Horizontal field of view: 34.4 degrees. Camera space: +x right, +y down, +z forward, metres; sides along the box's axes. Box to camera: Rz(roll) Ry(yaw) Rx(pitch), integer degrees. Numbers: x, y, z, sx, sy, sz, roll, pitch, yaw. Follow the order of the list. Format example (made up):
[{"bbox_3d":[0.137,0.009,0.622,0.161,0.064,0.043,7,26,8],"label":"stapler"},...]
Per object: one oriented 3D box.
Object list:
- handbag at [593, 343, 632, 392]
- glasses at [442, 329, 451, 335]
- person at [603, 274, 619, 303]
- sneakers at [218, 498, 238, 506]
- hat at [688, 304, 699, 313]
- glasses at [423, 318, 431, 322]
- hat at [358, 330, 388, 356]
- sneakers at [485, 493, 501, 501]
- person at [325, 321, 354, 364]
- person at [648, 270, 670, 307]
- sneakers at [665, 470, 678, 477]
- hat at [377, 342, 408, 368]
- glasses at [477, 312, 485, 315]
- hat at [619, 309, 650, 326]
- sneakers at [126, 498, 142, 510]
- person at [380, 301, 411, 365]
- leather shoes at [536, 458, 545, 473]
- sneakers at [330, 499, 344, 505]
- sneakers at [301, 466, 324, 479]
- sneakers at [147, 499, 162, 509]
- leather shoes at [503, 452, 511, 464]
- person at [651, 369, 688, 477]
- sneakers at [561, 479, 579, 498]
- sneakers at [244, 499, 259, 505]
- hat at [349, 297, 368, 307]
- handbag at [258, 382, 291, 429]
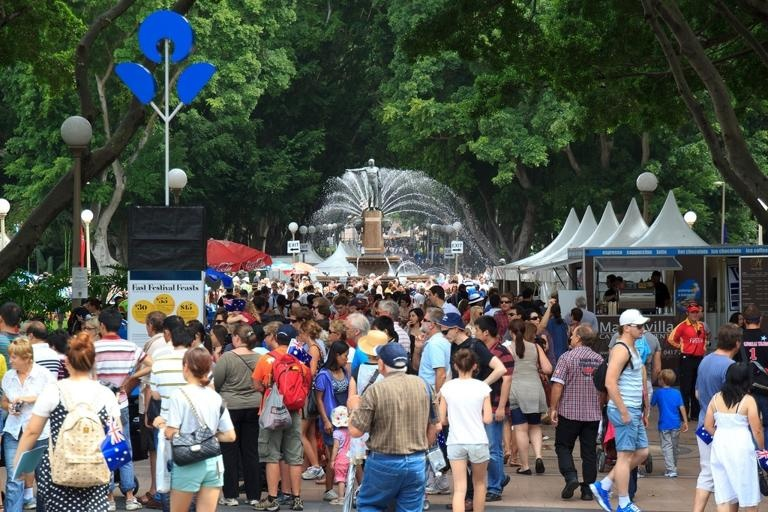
[{"bbox_3d":[3.621,1.755,19.427,0.508,0.753,0.418,-11,11,-16],"label":"handbag"},{"bbox_3d":[1.002,1.226,20.052,0.046,0.090,0.082,3,-9,-28],"label":"glasses"},{"bbox_3d":[5.095,0.712,27.867,0.332,0.639,1.079,-1,-5,10],"label":"person"},{"bbox_3d":[-2.444,3.908,19.726,0.265,0.125,0.115,6,4,41],"label":"sneakers"},{"bbox_3d":[6.205,1.048,24.922,0.209,0.157,0.347,2,3,5],"label":"hat"},{"bbox_3d":[0.708,1.031,20.213,0.068,0.050,0.064,3,-3,-42],"label":"glasses"},{"bbox_3d":[-0.183,1.286,18.271,0.392,0.150,0.366,25,10,-9],"label":"hat"},{"bbox_3d":[1.754,3.876,19.967,0.258,0.177,0.093,7,-1,-9],"label":"sneakers"},{"bbox_3d":[-0.755,1.383,20.702,0.372,0.721,0.773,1,12,-20],"label":"person"},{"bbox_3d":[6.231,0.737,27.976,0.418,0.884,0.912,-1,-5,13],"label":"person"},{"bbox_3d":[4.924,3.737,21.352,0.218,0.115,0.202,-2,-5,19],"label":"sneakers"},{"bbox_3d":[0.126,1.385,17.424,0.289,0.239,0.405,-8,35,-25],"label":"hat"},{"bbox_3d":[1.730,1.008,21.911,0.021,0.078,0.076,29,19,36],"label":"glasses"},{"bbox_3d":[3.894,0.962,19.395,0.484,0.271,0.364,-1,1,13],"label":"hat"},{"bbox_3d":[-3.909,3.892,19.462,0.118,0.129,0.301,0,2,11],"label":"sneakers"},{"bbox_3d":[0.142,1.322,22.067,0.585,1.087,0.753,2,5,11],"label":"person"},{"bbox_3d":[2.701,3.617,21.486,0.129,0.277,0.114,-1,22,-6],"label":"leather shoes"},{"bbox_3d":[-0.738,3.908,19.704,0.225,0.109,0.098,0,-5,23],"label":"sneakers"},{"bbox_3d":[-1.212,3.722,21.307,0.509,0.236,0.186,0,-3,-7],"label":"sneakers"},{"bbox_3d":[-3.623,3.899,19.581,0.288,0.125,0.141,5,1,11],"label":"sneakers"},{"bbox_3d":[2.188,3.586,22.047,0.079,0.208,0.075,8,-6,9],"label":"leather shoes"},{"bbox_3d":[4.916,2.878,21.466,0.559,1.845,0.733,-2,-4,14],"label":"person"},{"bbox_3d":[3.026,3.789,20.165,0.128,0.257,0.175,26,13,-24],"label":"sneakers"},{"bbox_3d":[-2.084,3.911,19.672,0.223,0.100,0.085,4,3,40],"label":"sneakers"},{"bbox_3d":[-0.537,0.913,24.648,0.211,0.165,0.584,-2,-5,20],"label":"hat"},{"bbox_3d":[-1.679,2.324,19.313,0.701,0.952,0.432,-2,-3,-6],"label":"handbag"}]
